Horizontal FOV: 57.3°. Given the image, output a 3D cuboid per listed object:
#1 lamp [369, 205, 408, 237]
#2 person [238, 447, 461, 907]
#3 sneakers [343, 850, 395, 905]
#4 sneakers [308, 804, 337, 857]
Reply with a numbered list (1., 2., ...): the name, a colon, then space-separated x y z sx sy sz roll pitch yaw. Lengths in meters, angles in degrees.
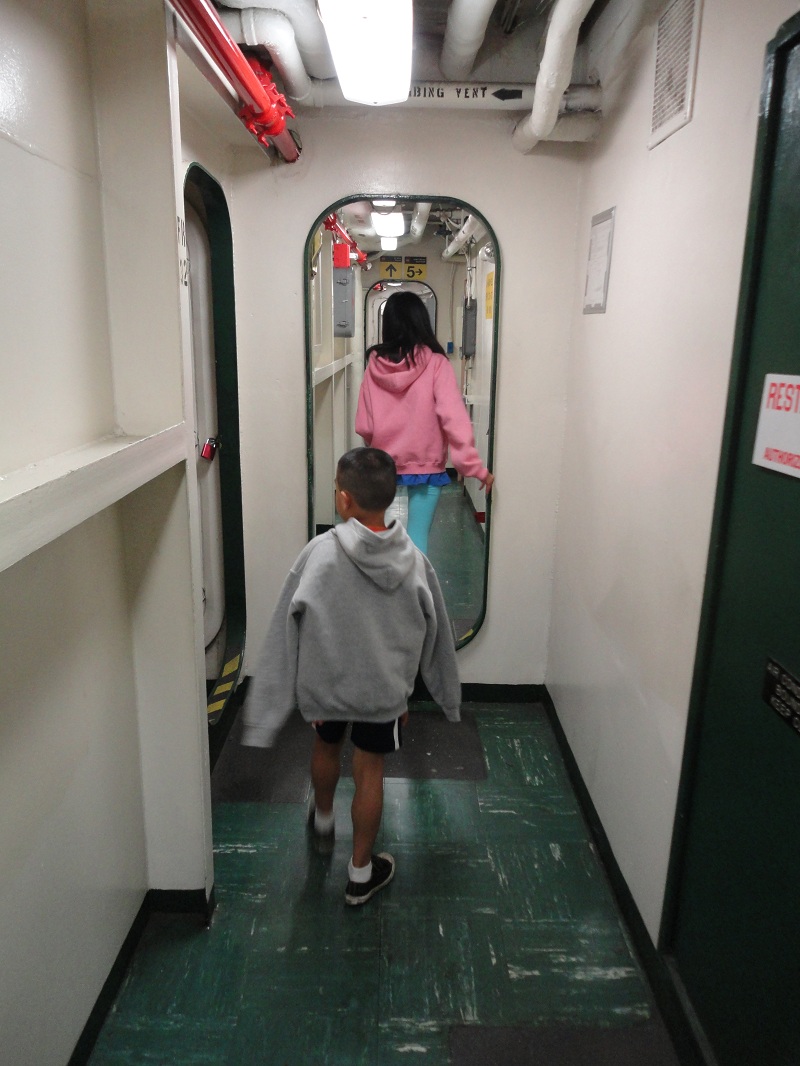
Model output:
1. lamp: -0.081 -2.114 4.949 0.252 0.169 0.396 0 6 -2
2. person: -0.129 0.400 2.126 0.542 1.305 0.470 3 9 16
3. sneakers: -0.094 0.996 2.125 0.058 0.094 0.190 1 7 16
4. sneakers: -0.250 0.969 2.358 0.071 0.105 0.234 2 -15 -3
